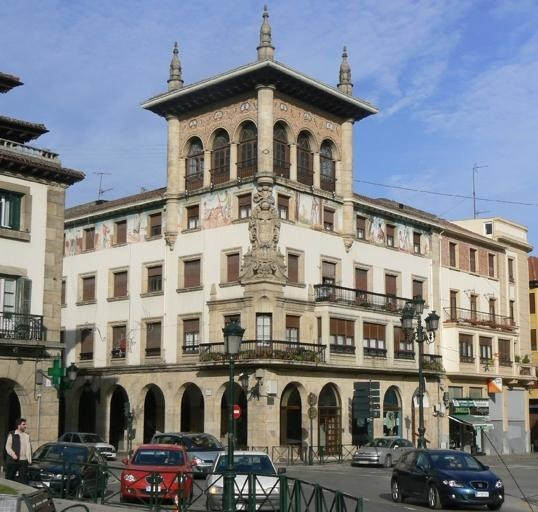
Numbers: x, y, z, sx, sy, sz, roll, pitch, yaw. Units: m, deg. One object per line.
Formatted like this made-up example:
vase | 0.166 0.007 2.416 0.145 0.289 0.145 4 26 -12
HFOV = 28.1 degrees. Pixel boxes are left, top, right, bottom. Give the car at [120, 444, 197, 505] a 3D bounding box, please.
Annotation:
car | -3.399 6.875 32.771 2.149 1.554 4.327 2 1 -8

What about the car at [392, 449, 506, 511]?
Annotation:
car | 5.619 7.238 34.119 1.910 1.428 3.791 1 2 -31

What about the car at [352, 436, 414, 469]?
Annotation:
car | 5.329 9.365 51.058 1.339 1.087 2.955 -12 -16 42

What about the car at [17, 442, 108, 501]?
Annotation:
car | -6.235 6.660 33.409 1.393 1.116 2.474 1 -21 2

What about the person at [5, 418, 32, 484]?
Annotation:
person | -7.292 5.718 31.462 0.710 1.775 0.875 2 1 -15
